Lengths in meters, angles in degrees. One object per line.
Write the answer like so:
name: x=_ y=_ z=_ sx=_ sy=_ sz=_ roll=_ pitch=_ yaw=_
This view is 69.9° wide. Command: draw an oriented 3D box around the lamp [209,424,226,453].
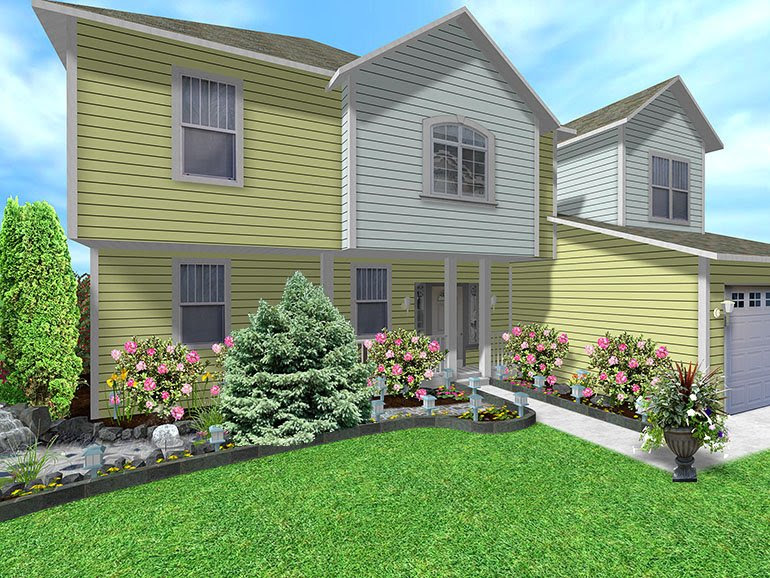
lamp: x=-3.251 y=2.890 z=10.658 sx=0.414 sy=0.387 sz=0.382 roll=1 pitch=3 yaw=-27

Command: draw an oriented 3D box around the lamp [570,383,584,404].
lamp: x=4.765 y=2.538 z=13.550 sx=0.270 sy=0.441 sz=0.363 roll=-3 pitch=-5 yaw=19

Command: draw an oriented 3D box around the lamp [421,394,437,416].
lamp: x=1.012 y=2.608 z=12.482 sx=0.244 sy=0.427 sz=0.614 roll=-2 pitch=-5 yaw=7

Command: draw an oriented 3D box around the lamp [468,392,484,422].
lamp: x=2.005 y=2.594 z=12.130 sx=0.202 sy=0.552 sz=0.729 roll=-2 pitch=-5 yaw=7

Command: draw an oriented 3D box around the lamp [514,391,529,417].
lamp: x=3.075 y=2.580 z=12.435 sx=0.271 sy=0.494 sz=0.465 roll=-2 pitch=-5 yaw=11

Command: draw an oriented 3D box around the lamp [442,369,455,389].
lamp: x=1.735 y=2.396 z=14.900 sx=0.266 sy=0.550 sz=0.320 roll=-1 pitch=-5 yaw=4

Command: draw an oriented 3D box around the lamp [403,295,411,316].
lamp: x=0.628 y=0.445 z=16.135 sx=0.262 sy=0.527 sz=0.417 roll=-2 pitch=-5 yaw=12

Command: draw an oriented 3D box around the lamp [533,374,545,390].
lamp: x=4.170 y=2.492 z=14.805 sx=0.358 sy=0.366 sz=0.321 roll=-1 pitch=3 yaw=-42
